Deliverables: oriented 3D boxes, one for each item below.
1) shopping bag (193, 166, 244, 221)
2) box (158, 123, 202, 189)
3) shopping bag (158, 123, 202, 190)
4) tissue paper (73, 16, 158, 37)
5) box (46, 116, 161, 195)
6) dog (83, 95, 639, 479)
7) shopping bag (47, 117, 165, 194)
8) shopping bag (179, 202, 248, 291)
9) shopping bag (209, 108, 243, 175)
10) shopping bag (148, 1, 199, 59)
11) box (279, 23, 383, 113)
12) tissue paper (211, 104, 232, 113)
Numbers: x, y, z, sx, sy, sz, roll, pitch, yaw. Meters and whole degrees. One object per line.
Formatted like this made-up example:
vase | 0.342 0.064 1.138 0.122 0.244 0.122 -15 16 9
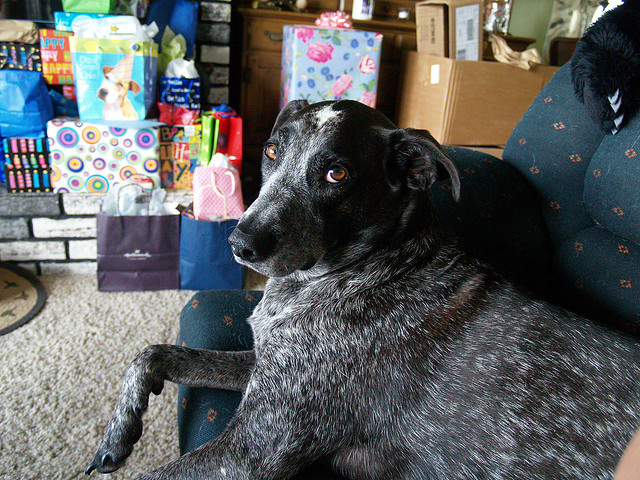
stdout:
shopping bag | -0.592 -0.277 3.035 0.250 0.339 0.276 -7 25 -29
box | -0.865 -0.517 3.240 0.160 0.358 0.296 -5 24 -25
shopping bag | -0.858 -0.525 3.206 0.332 0.467 0.251 4 18 4
tissue paper | -1.166 -1.173 2.896 0.367 0.107 0.140 -2 26 -19
box | -1.242 -0.457 3.168 0.620 0.423 0.347 0 1 -7
dog | 0.272 0.216 1.568 1.272 1.062 0.653 11 25 11
shopping bag | -1.243 -0.476 2.998 0.629 0.427 0.304 -7 27 -24
shopping bag | -0.655 0.031 3.152 0.452 0.510 0.341 -8 23 -33
shopping bag | -0.594 -0.619 3.352 0.182 0.390 0.169 -2 30 -16
shopping bag | -0.917 -1.352 3.446 0.266 0.366 0.318 2 22 -5
box | 0.100 -1.241 3.749 0.701 0.567 0.673 -9 40 -18
tissue paper | -0.604 -0.820 3.298 0.086 0.036 0.087 1 17 3
